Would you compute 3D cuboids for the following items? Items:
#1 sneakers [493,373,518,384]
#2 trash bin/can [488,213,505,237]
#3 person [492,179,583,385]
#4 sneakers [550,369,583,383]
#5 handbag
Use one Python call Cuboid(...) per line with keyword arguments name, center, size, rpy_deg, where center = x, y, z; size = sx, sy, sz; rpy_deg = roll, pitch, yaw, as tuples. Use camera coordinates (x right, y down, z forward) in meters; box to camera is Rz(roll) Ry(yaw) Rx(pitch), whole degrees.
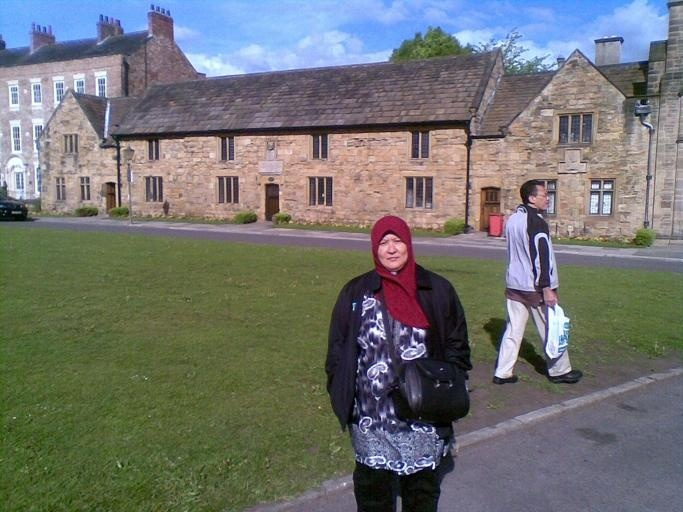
Cuboid(name="sneakers", center=(2.321, 1.764, 7.950), size=(0.367, 0.174, 0.131), rpy_deg=(-4, 5, -8))
Cuboid(name="trash bin/can", center=(7.656, -1.506, 27.320), size=(0.947, 1.452, 0.999), rpy_deg=(1, 1, 30))
Cuboid(name="person", center=(2.529, 0.422, 7.624), size=(0.675, 2.857, 0.886), rpy_deg=(-1, 10, -11))
Cuboid(name="sneakers", center=(3.210, 1.732, 7.967), size=(0.338, 0.162, 0.200), rpy_deg=(-7, 3, 6))
Cuboid(name="handbag", center=(0.753, 1.111, 4.627), size=(0.540, 0.508, 0.394), rpy_deg=(7, -16, -23))
